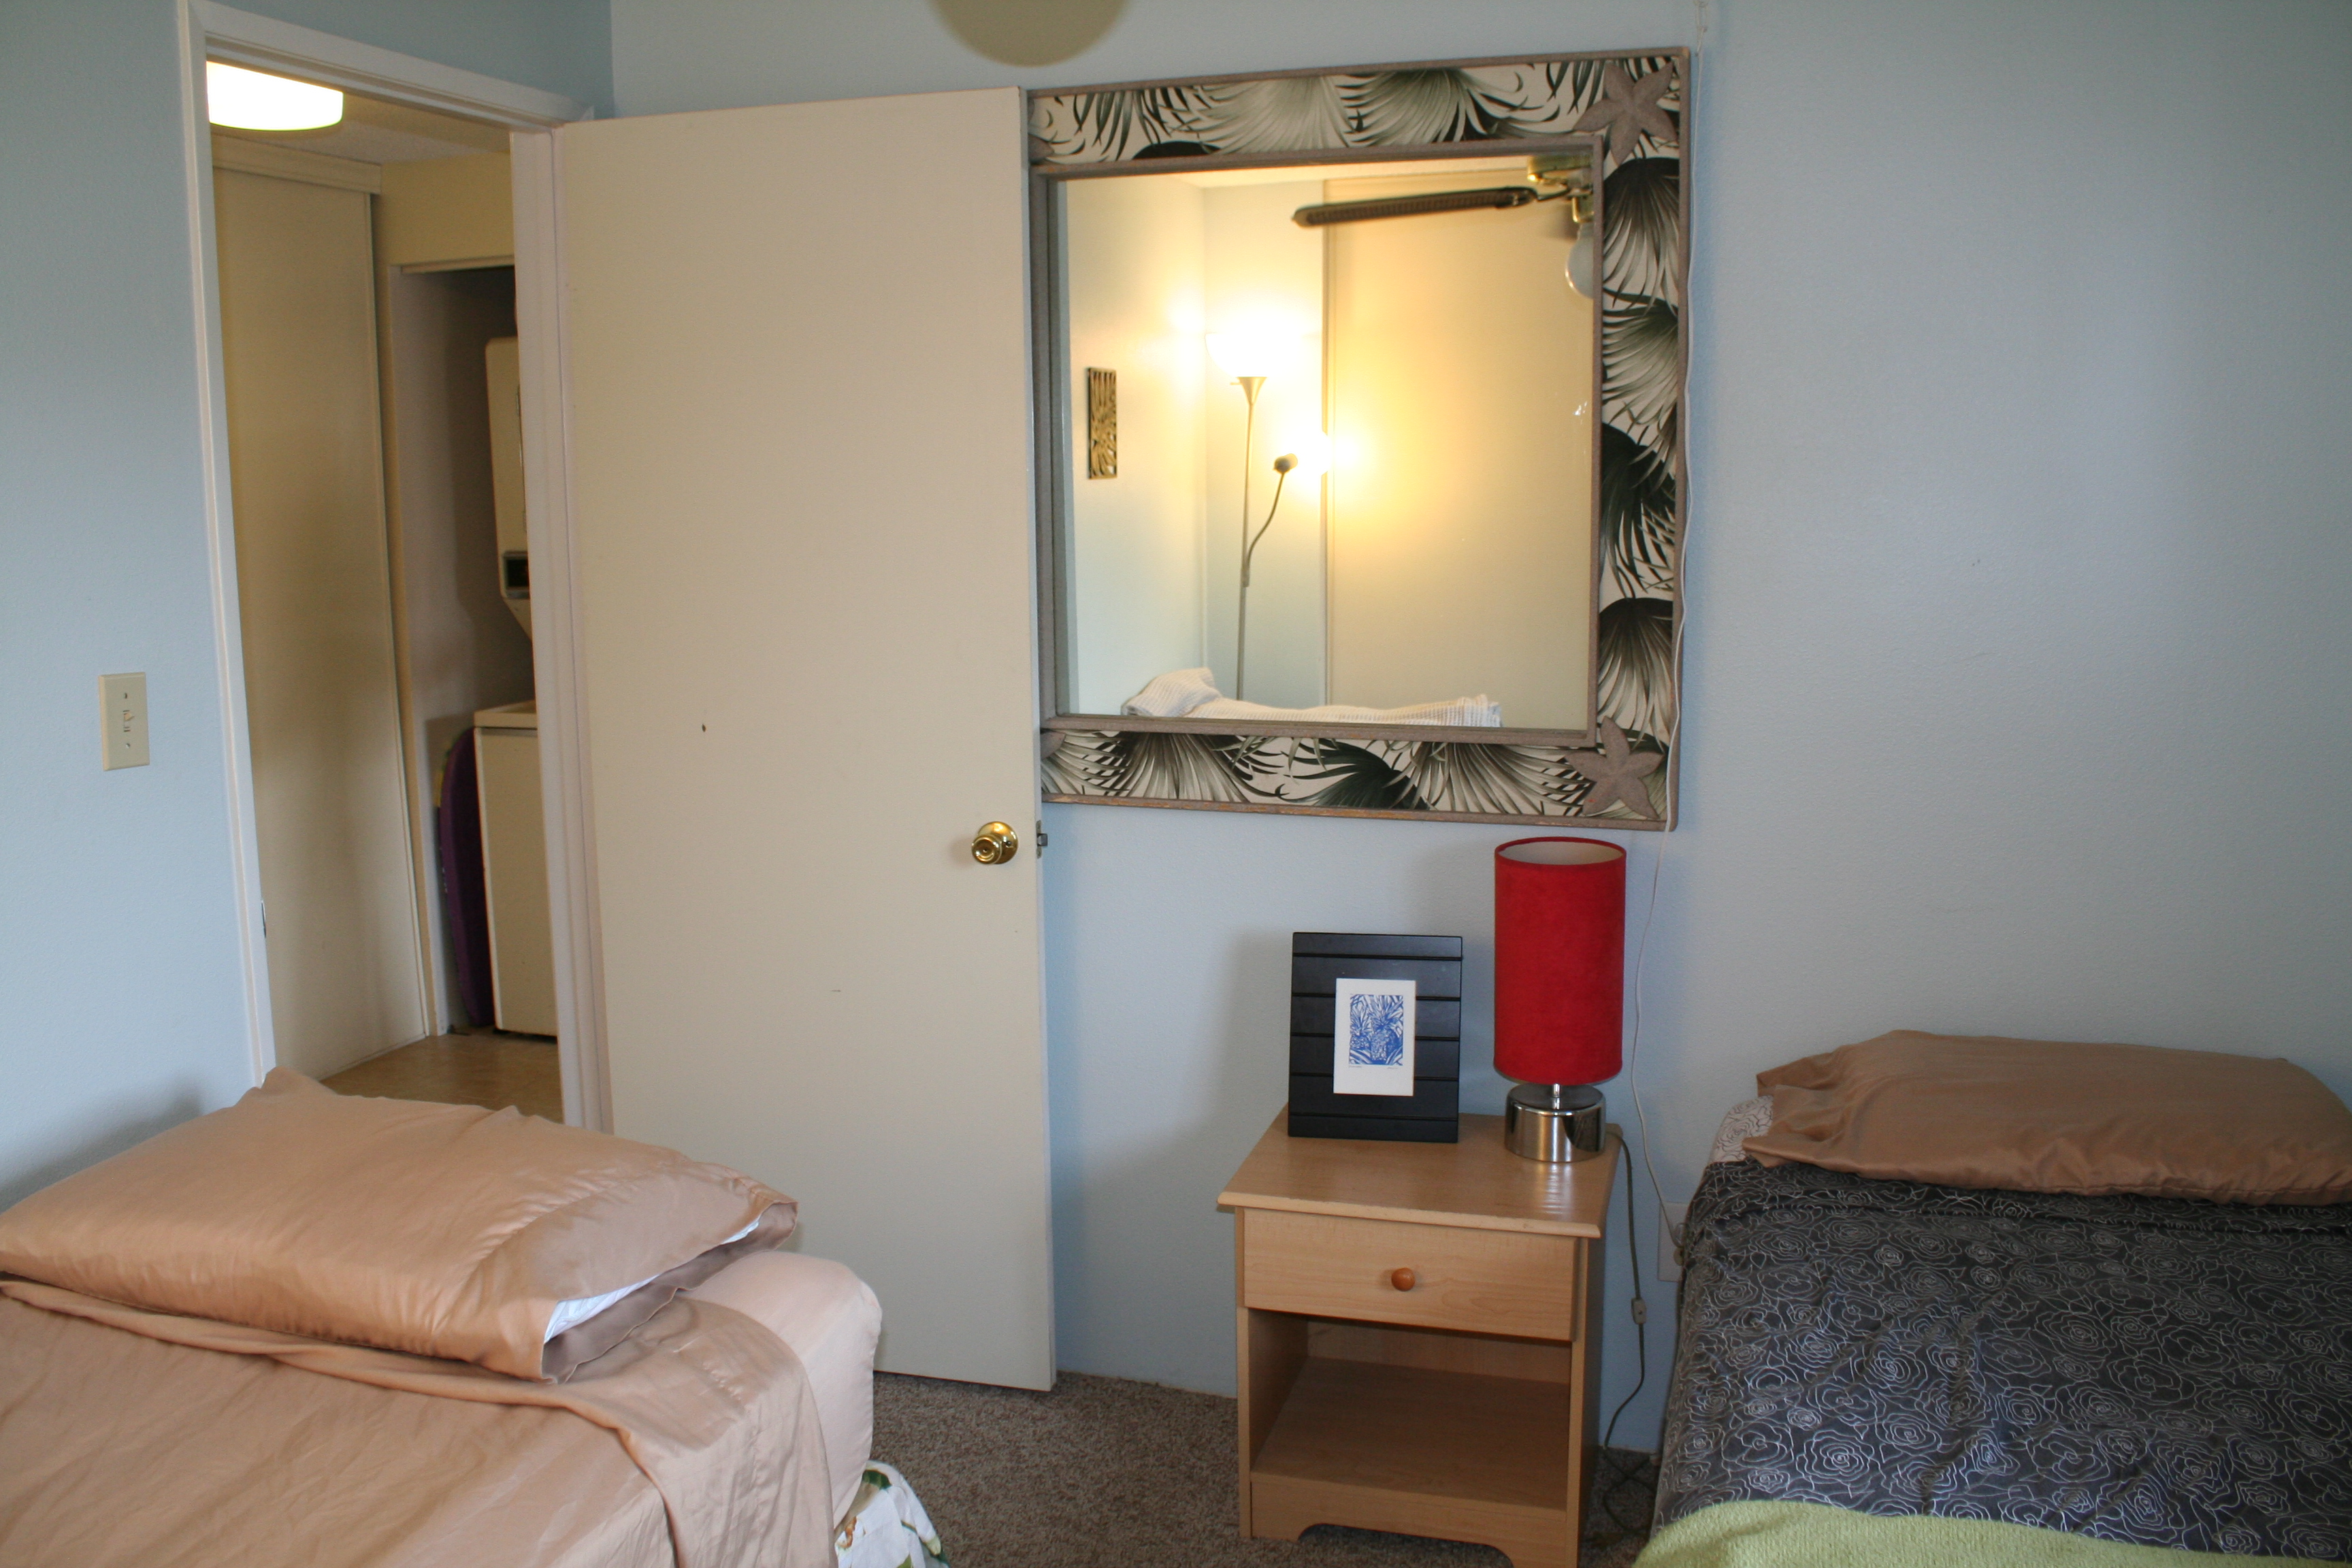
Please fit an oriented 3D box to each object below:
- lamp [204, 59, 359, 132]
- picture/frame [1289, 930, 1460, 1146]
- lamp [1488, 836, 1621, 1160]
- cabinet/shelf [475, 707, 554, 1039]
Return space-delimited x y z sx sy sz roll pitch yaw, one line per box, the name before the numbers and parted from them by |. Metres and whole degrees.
lamp | -2.091 -1.587 3.914 0.233 0.111 0.373 -5 8 -32
picture/frame | 0.390 0.499 3.241 0.401 0.450 0.048 0 -3 8
lamp | 0.719 0.398 3.171 0.236 0.578 0.286 1 9 13
cabinet/shelf | -2.059 0.286 5.235 0.316 1.031 0.111 5 10 32
